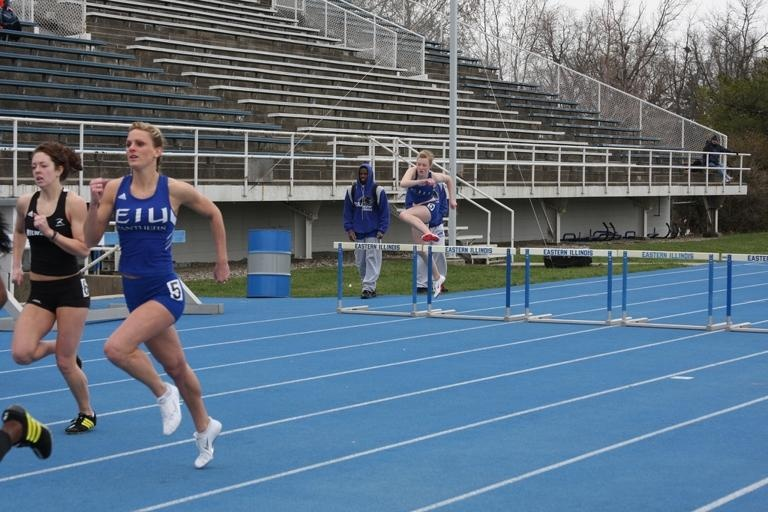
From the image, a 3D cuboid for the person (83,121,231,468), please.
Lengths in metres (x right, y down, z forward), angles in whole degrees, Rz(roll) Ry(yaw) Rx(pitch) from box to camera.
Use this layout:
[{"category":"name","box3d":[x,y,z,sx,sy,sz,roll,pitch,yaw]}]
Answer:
[{"category":"person","box3d":[-1.987,0.349,7.961,1.233,2.999,0.612,-1,4,-8]}]

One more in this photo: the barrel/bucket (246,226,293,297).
[{"category":"barrel/bucket","box3d":[-2.033,0.157,16.180,1.073,1.443,1.042,1,-1,0]}]

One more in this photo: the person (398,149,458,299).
[{"category":"person","box3d":[0.669,-0.568,14.913,0.822,2.227,1.133,0,1,-43]}]

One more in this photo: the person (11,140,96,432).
[{"category":"person","box3d":[-3.255,0.376,8.785,0.938,2.491,1.130,0,0,-36]}]
